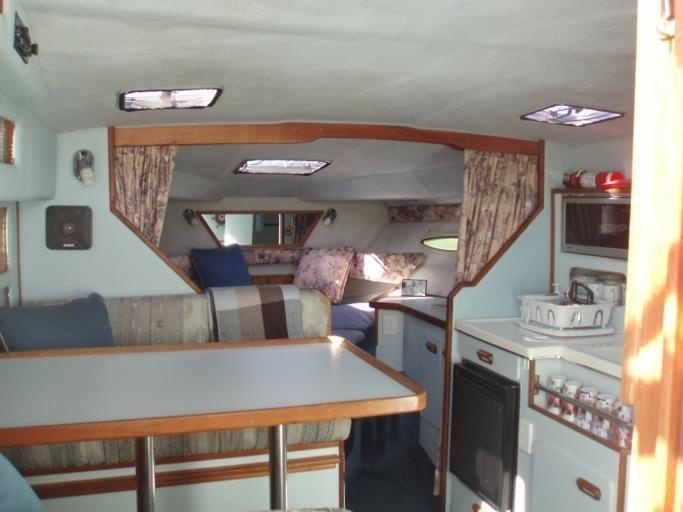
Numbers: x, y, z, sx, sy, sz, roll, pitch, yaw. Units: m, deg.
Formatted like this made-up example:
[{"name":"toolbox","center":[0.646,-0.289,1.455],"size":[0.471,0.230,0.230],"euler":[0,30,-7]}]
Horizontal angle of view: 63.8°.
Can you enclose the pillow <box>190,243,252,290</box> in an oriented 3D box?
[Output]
[{"name":"pillow","center":[-0.968,0.089,4.424],"size":[0.417,0.394,0.186],"euler":[-3,-29,-31]}]

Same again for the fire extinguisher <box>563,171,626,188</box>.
[{"name":"fire extinguisher","center":[1.234,-0.375,2.685],"size":[0.144,0.043,0.145],"euler":[0,1,37]}]

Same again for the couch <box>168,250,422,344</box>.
[{"name":"couch","center":[-0.478,0.418,5.118],"size":[1.687,0.638,0.949],"euler":[0,5,-28]}]
